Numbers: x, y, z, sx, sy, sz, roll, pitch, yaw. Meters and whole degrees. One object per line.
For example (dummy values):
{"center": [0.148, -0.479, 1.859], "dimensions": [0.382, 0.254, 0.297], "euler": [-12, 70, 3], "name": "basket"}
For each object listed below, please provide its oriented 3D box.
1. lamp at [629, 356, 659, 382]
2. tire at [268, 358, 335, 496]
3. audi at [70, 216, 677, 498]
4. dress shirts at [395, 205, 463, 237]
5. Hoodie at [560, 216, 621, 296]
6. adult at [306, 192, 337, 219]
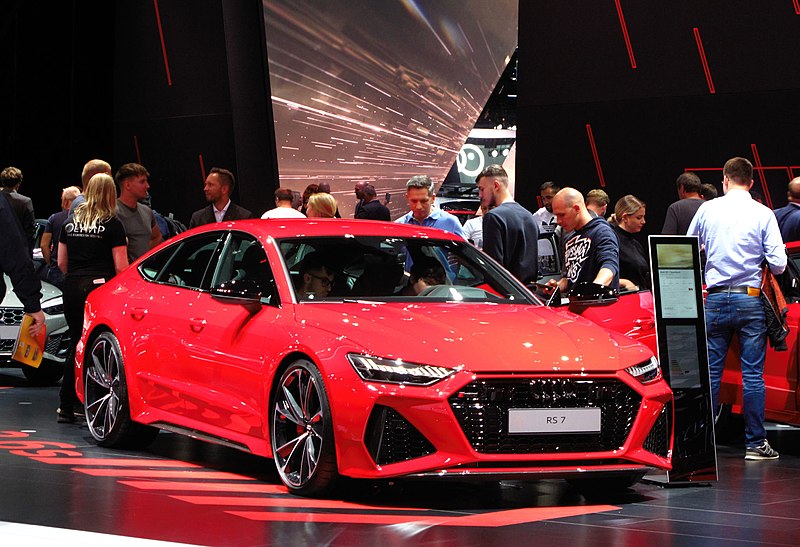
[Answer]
{"center": [1.471, 0.572, 3.394], "dimensions": [0.205, 0.140, 0.071], "euler": [-11, 25, -32], "name": "lamp"}
{"center": [-0.556, 0.883, 3.242], "dimensions": [0.235, 0.628, 0.718], "euler": [1, -19, -32], "name": "tire"}
{"center": [-0.353, 0.598, 4.028], "dimensions": [4.058, 1.992, 1.687], "euler": [4, 4, 34], "name": "audi"}
{"center": [0.408, -0.711, 7.255], "dimensions": [0.783, 0.332, 0.504], "euler": [13, 10, 11], "name": "dress shirts"}
{"center": [1.755, -0.165, 5.089], "dimensions": [0.355, 0.703, 0.883], "euler": [2, -2, -26], "name": "Hoodie"}
{"center": [-0.911, -0.818, 6.524], "dimensions": [0.324, 0.304, 0.725], "euler": [1, 4, -8], "name": "adult"}
